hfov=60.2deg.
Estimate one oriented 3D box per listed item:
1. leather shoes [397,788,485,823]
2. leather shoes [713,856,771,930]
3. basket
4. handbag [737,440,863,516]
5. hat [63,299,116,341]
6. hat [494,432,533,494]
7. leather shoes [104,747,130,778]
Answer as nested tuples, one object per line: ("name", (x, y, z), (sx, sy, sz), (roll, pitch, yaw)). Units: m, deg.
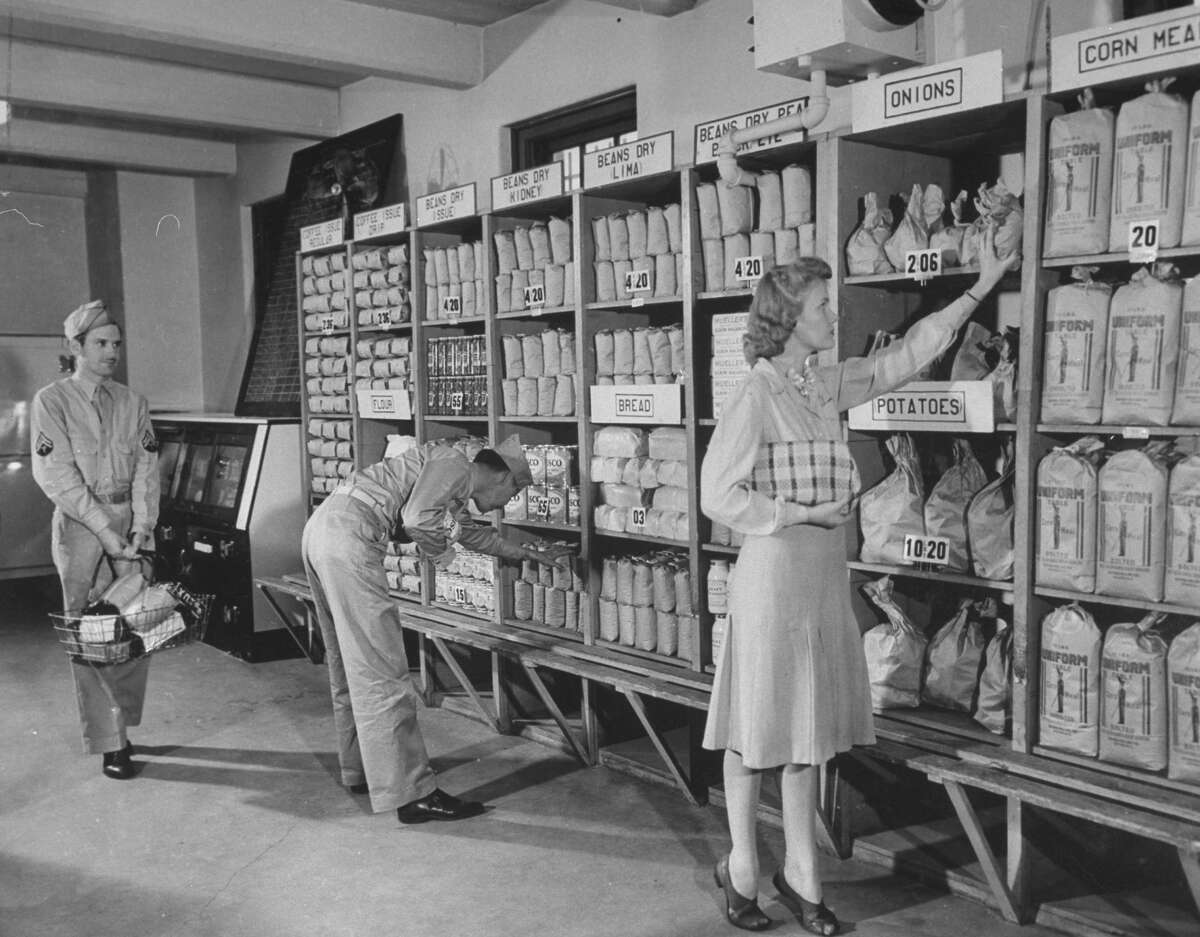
("leather shoes", (-0.697, 1.499, 4.633), (0.407, 0.182, 0.139), (-4, 1, -7))
("leather shoes", (0.500, 1.539, 3.733), (0.121, 0.101, 0.277), (0, 18, -22))
("basket", (-2.287, 0.760, 5.063), (0.603, 0.313, 0.415), (-10, -21, 37))
("handbag", (0.703, 0.046, 3.593), (0.313, 0.290, 0.435), (-7, -6, 9))
("hat", (-2.550, -0.732, 5.217), (0.236, 0.193, 0.136), (1, 6, 11))
("hat", (-0.362, -0.023, 4.660), (0.187, 0.190, 0.231), (-19, 0, 29))
("leather shoes", (-2.380, 1.465, 5.161), (0.137, 0.132, 0.146), (-3, 7, -23))
